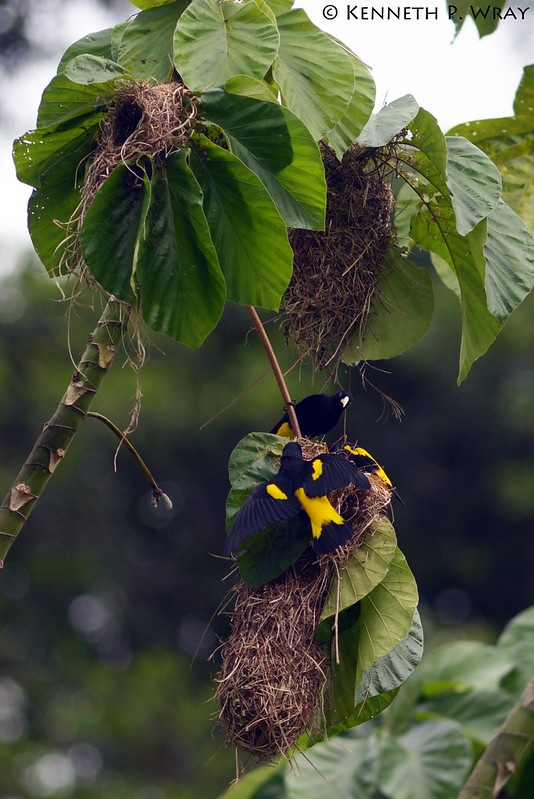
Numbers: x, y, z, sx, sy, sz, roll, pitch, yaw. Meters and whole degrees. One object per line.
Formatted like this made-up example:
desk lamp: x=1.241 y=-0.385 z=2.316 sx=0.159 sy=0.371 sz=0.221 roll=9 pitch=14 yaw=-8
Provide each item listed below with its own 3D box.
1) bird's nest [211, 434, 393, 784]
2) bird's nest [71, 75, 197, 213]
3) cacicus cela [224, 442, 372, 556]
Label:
bird's nest: x=0.067 y=0.576 z=3.223 sx=0.484 sy=0.873 sz=0.573 roll=-4 pitch=8 yaw=29
bird's nest: x=-0.346 y=-0.672 z=2.977 sx=0.321 sy=0.332 sz=0.361 roll=-3 pitch=22 yaw=-9
cacicus cela: x=0.042 y=0.284 z=3.012 sx=0.457 sy=0.237 sz=0.266 roll=-10 pitch=24 yaw=-25
